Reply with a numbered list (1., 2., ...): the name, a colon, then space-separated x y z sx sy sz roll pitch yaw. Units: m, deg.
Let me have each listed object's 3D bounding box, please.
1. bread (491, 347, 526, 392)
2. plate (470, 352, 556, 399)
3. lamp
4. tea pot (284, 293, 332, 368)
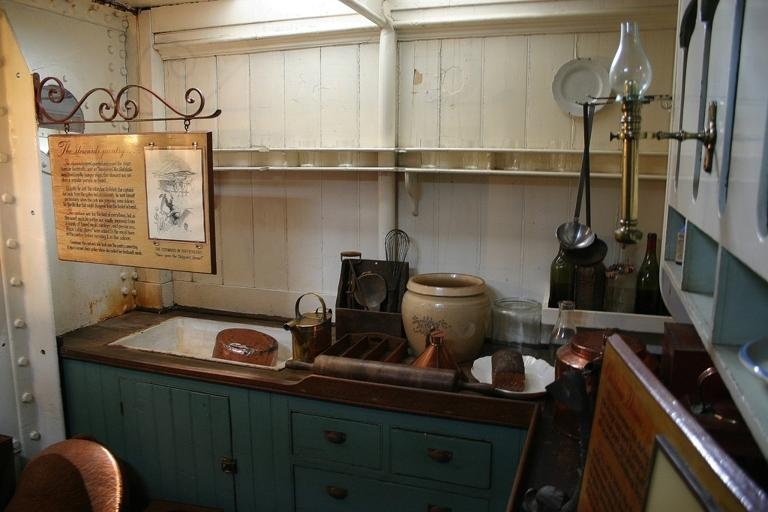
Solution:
1. bread: 0.534 0.484 2.496 0.136 0.121 0.189 1 3 9
2. plate: 0.563 0.527 2.596 0.361 0.052 0.383 1 16 19
3. lamp: 0.730 -0.312 1.496 0.159 0.608 0.328 -5 8 -27
4. tea pot: -0.396 0.361 2.912 0.164 0.321 0.316 9 12 34
